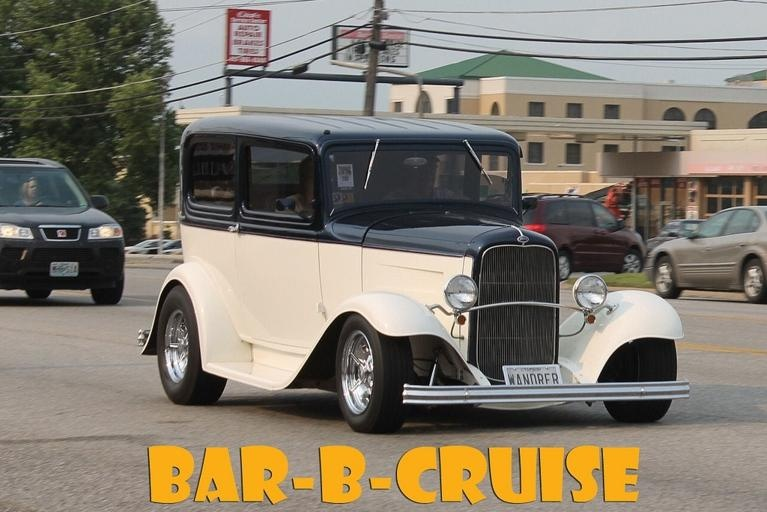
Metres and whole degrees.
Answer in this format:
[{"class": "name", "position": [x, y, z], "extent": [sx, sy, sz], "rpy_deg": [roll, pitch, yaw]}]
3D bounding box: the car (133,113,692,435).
[{"class": "car", "position": [0.043, 0.097, 8.886], "extent": [4.821, 2.934, 2.419], "rpy_deg": [4, 6, 36]}]

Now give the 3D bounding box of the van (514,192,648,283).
[{"class": "van", "position": [5.659, -0.576, 26.811], "extent": [4.784, 2.041, 2.636], "rpy_deg": [-3, 4, -34]}]
